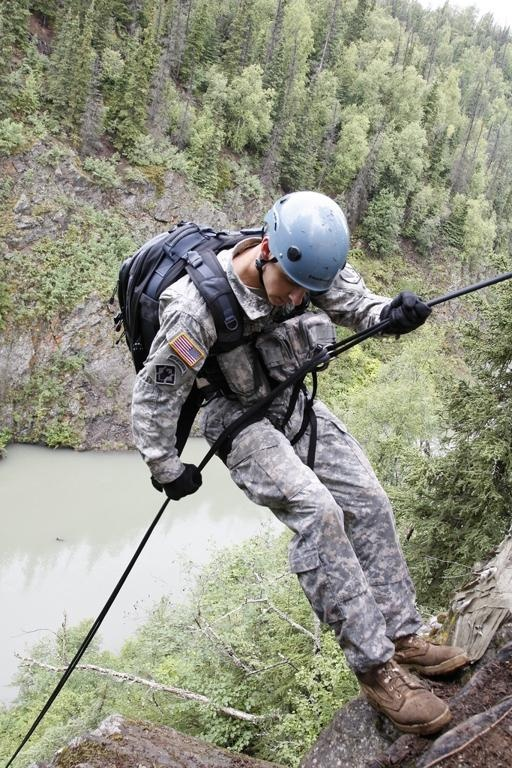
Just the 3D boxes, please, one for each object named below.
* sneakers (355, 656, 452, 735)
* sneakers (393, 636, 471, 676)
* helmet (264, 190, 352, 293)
[{"bbox_3d":[0.696,1.496,3.038,0.215,0.287,0.597,-33,11,-18],"label":"sneakers"},{"bbox_3d":[0.937,1.457,3.288,0.462,0.173,0.221,4,-32,13],"label":"sneakers"},{"bbox_3d":[0.265,-0.846,3.409,0.439,0.474,0.588,-14,38,-34],"label":"helmet"}]
